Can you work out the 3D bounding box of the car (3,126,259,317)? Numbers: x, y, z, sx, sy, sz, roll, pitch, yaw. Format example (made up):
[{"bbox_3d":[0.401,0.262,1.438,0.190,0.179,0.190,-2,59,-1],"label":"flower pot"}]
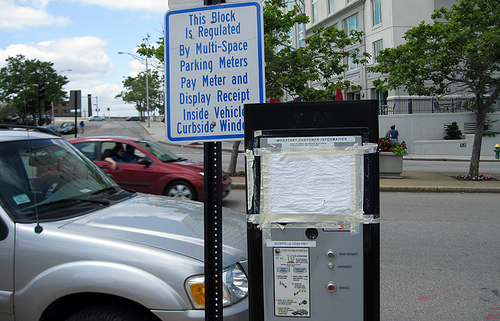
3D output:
[{"bbox_3d":[-1.492,0.698,6.638,3.192,1.682,1.670,-3,0,11],"label":"car"}]

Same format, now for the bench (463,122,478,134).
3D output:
[{"bbox_3d":[13.954,-2.099,35.379,0.815,0.669,0.582,-1,5,-1],"label":"bench"}]

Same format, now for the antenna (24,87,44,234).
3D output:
[{"bbox_3d":[-2.464,0.105,6.389,0.113,1.284,0.884,-3,6,-22],"label":"antenna"}]

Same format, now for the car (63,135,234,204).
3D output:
[{"bbox_3d":[-2.254,0.092,13.303,3.920,1.357,1.772,1,3,10],"label":"car"}]

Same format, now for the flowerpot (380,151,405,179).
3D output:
[{"bbox_3d":[4.739,0.152,19.052,1.052,0.989,0.794,-1,0,2],"label":"flowerpot"}]

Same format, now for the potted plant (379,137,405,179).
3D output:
[{"bbox_3d":[4.838,-0.193,19.170,1.112,1.340,1.266,6,16,24],"label":"potted plant"}]
